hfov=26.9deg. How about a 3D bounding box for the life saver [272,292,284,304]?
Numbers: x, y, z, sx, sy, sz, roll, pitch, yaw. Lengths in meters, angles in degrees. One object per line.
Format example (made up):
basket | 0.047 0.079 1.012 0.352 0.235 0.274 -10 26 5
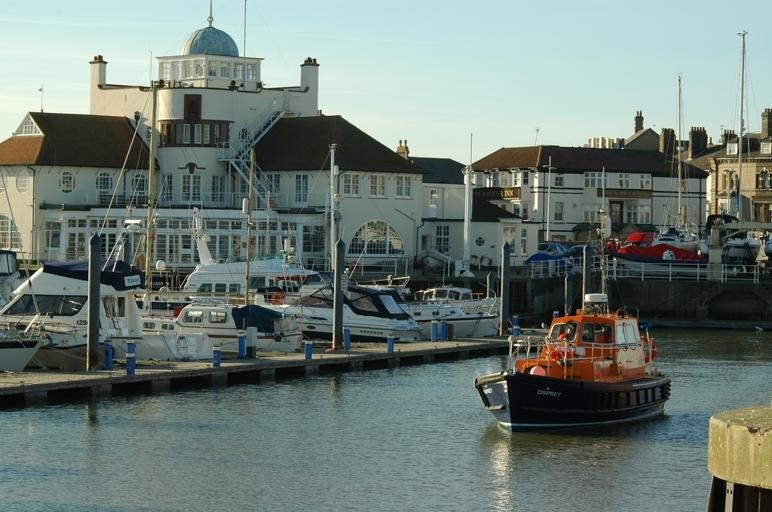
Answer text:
life saver | -5.191 2.020 78.434 0.642 0.612 0.489 2 2 34
